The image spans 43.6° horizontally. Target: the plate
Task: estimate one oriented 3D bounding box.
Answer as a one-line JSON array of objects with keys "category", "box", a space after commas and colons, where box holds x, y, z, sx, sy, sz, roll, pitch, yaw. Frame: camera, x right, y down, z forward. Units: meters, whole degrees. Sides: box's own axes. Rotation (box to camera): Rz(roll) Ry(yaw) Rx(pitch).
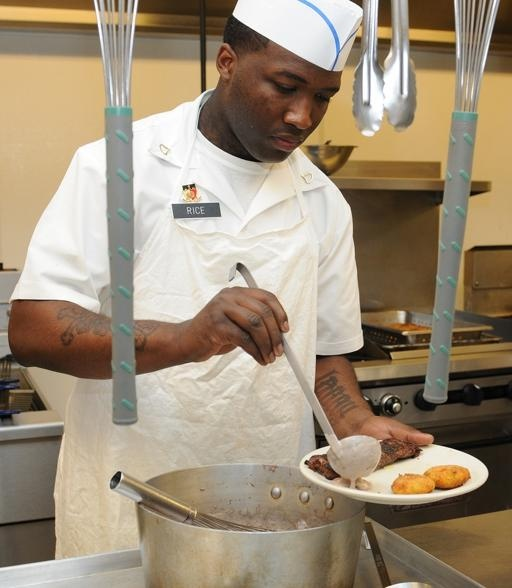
[{"category": "plate", "box": [0.189, 0.220, 0.780, 0.145, 0.020, 0.140, 0, 5, 24]}]
